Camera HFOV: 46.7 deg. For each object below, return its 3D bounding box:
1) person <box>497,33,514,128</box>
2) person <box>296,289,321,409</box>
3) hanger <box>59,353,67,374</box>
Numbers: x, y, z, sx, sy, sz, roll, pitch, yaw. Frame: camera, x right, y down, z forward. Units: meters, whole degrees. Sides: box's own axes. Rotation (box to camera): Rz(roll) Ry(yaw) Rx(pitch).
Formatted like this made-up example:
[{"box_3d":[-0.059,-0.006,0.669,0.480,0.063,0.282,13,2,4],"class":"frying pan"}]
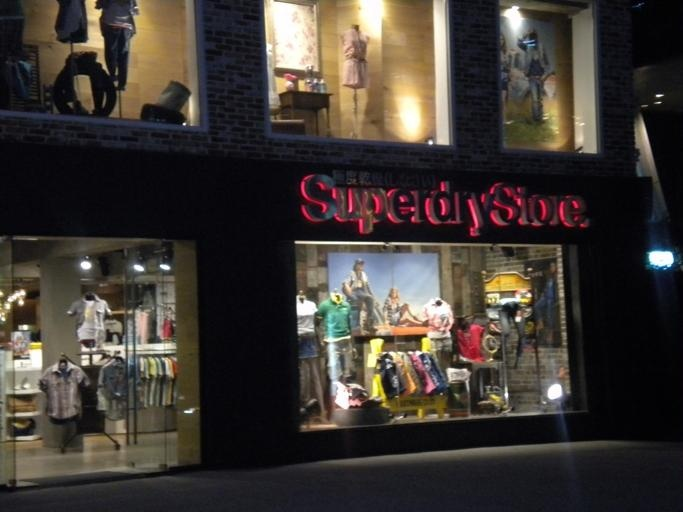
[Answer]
[{"box_3d":[2.573,-2.738,12.348,0.107,1.454,0.381,-3,-3,35],"class":"person"},{"box_3d":[-0.430,1.351,11.078,0.366,1.709,0.127,0,-3,-30],"class":"person"},{"box_3d":[-4.414,1.732,12.588,0.170,0.289,0.331,-1,-2,-20],"class":"hanger"}]
